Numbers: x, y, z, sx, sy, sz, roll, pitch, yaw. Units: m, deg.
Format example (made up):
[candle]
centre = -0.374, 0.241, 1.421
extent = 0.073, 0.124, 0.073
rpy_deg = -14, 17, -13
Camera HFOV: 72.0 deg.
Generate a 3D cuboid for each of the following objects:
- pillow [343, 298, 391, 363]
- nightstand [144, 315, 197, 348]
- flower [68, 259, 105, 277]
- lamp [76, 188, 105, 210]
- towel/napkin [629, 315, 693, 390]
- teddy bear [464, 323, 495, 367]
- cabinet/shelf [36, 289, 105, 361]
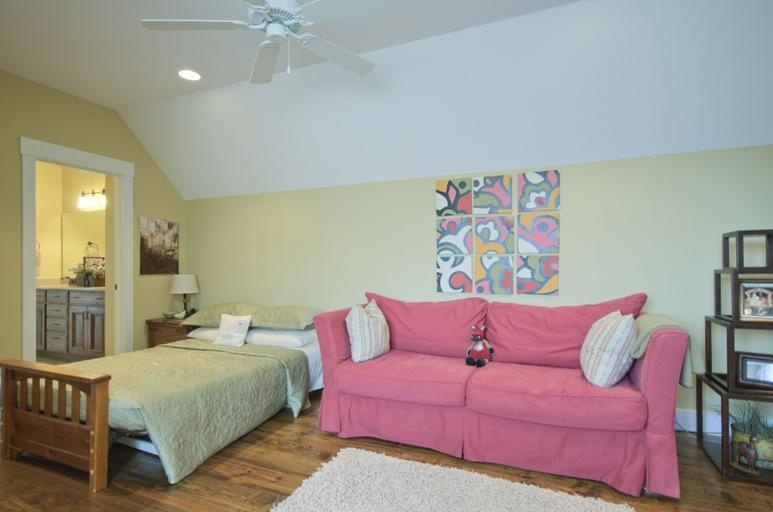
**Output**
[pillow]
centre = -0.175, 0.711, 4.991
extent = 0.266, 0.472, 0.504
rpy_deg = 2, 4, 30
[nightstand]
centre = -2.447, 0.841, 6.109
extent = 0.517, 0.477, 0.342
rpy_deg = -1, -1, 21
[flower]
centre = -3.963, 0.133, 7.137
extent = 0.416, 0.209, 0.366
rpy_deg = 2, 0, 5
[lamp]
centre = -4.038, -0.783, 7.330
extent = 0.524, 0.292, 0.148
rpy_deg = 0, 1, 28
[towel/napkin]
centre = 2.230, 0.744, 4.285
extent = 0.422, 0.521, 0.491
rpy_deg = 0, 1, 27
[teddy bear]
centre = 0.855, 0.819, 4.909
extent = 0.352, 0.419, 0.295
rpy_deg = -9, -20, 31
[cabinet/shelf]
centre = -3.852, 0.824, 6.552
extent = 0.924, 0.644, 0.503
rpy_deg = -1, -6, 18
